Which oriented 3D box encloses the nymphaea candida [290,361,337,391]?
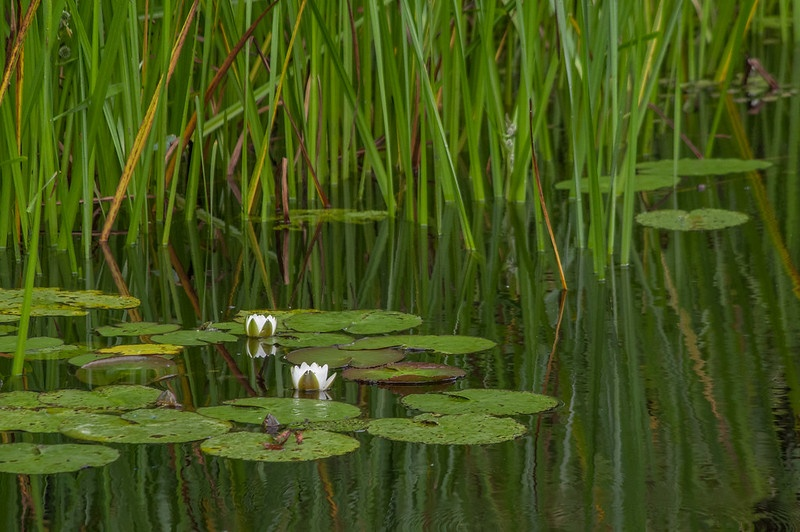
[{"bbox_3d":[-0.246,0.306,3.065,0.086,0.047,0.095,2,-4,-37],"label":"nymphaea candida"}]

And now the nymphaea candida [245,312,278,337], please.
[{"bbox_3d":[-0.423,0.182,3.376,0.069,0.054,0.081,2,-4,-38],"label":"nymphaea candida"}]
